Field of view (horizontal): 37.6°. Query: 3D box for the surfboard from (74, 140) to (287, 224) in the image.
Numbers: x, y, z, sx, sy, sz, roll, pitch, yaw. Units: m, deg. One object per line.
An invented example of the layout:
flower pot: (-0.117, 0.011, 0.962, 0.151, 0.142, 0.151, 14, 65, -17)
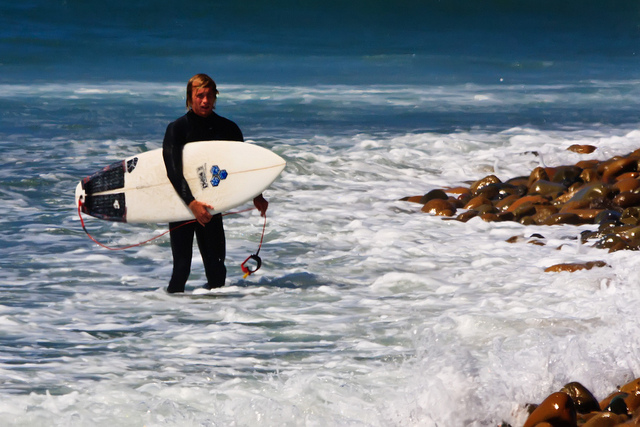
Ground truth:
surfboard: (-2.054, -0.471, 13.700, 0.426, 1.027, 4.543, 24, 23, 39)

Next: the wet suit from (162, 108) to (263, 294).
wet suit: (-1.709, -0.153, 13.633, 1.056, 2.686, 0.679, -4, 9, -24)
